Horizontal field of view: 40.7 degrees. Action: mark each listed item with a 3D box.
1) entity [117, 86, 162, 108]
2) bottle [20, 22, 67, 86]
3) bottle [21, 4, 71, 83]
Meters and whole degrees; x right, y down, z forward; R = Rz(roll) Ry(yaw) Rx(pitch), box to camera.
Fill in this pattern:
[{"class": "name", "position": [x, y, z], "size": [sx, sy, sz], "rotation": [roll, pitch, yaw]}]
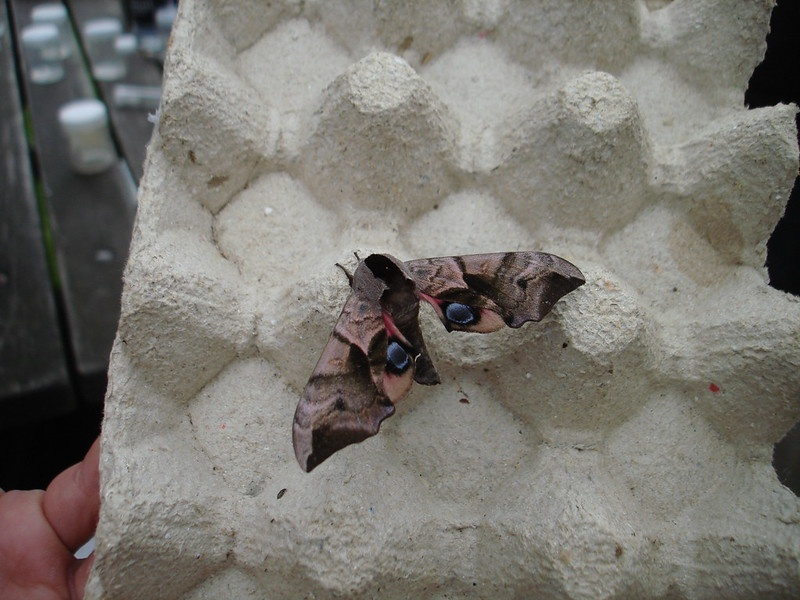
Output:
[{"class": "entity", "position": [-0.732, -0.559, 2.976], "size": [0.116, 0.029, 0.072], "rotation": [7, 85, -5]}, {"class": "bottle", "position": [-0.834, -0.577, 2.524], "size": [0.030, 0.110, 0.128], "rotation": [5, 100, 39]}, {"class": "bottle", "position": [-0.831, -0.592, 2.531], "size": [0.088, 0.055, 0.189], "rotation": [-3, 93, -33]}]
